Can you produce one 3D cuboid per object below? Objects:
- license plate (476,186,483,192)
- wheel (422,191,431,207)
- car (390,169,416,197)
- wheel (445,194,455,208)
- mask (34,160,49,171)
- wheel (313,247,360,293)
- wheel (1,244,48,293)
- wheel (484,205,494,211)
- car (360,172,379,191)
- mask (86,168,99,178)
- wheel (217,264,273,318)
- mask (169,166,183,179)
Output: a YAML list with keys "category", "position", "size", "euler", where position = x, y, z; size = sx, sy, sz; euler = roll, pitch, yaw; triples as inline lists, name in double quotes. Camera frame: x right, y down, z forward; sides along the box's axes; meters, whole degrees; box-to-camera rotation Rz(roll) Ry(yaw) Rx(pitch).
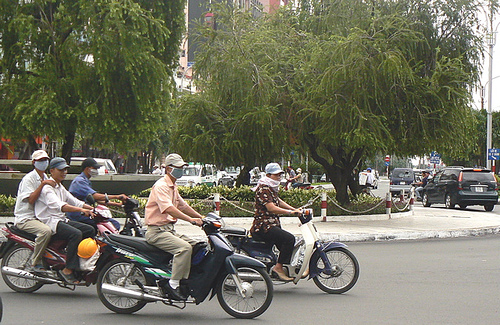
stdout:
- category: "license plate"
  position: [11.023, 1.277, 36.555]
  size: [0.245, 0.269, 0.071]
  euler: [1, -1, 9]
- category: "wheel"
  position: [9.291, 1.922, 39.985]
  size: [0.231, 0.823, 0.758]
  euler: [0, -1, -6]
- category: "car"
  position: [11.478, 1.375, 56.949]
  size: [1.933, 2.308, 3.900]
  euler: [1, 4, 11]
- category: "wheel"
  position: [9.888, 1.859, 37.608]
  size: [0.220, 0.722, 0.666]
  euler: [1, -2, -7]
- category: "mask"
  position: [-5.097, 0.066, 18.650]
  size: [0.220, 0.173, 0.253]
  euler: [1, 2, -29]
- category: "wheel"
  position: [2.130, 2.725, 19.099]
  size: [1.024, 1.202, 0.215]
  euler: [0, -2, 3]
- category: "wheel"
  position: [-5.543, 2.561, 18.683]
  size: [1.000, 1.171, 0.212]
  euler: [4, 2, 2]
- category: "wheel"
  position: [11.739, 2.203, 37.403]
  size: [0.381, 0.395, 0.664]
  euler: [2, 12, 13]
- category: "car"
  position: [9.284, 1.409, 59.513]
  size: [1.440, 1.396, 3.626]
  euler: [0, 2, 16]
- category: "mask"
  position: [-4.044, 0.238, 19.427]
  size: [0.216, 0.160, 0.207]
  euler: [8, -1, -5]
- category: "wheel"
  position: [-0.155, 2.993, 17.652]
  size: [1.074, 1.331, 0.376]
  euler: [-1, 1, 7]
- category: "mask"
  position: [-1.720, 0.233, 17.783]
  size: [0.259, 0.193, 0.246]
  euler: [8, -2, -4]
